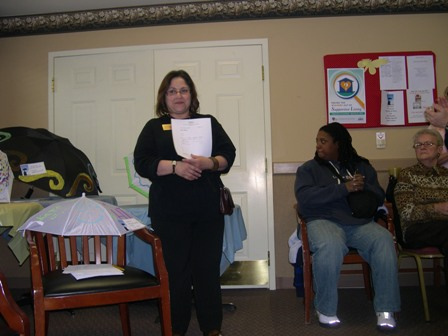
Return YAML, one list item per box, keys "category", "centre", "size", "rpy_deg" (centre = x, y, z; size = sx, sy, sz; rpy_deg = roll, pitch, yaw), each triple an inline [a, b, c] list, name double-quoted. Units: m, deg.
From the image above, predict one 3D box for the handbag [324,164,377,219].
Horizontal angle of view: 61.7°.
- category: "handbag"
  centre: [1.107, 0.242, 3.136]
  size: [0.156, 0.299, 0.095]
  rpy_deg: [-27, -7, -39]

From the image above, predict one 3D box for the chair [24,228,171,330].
- category: "chair"
  centre: [-0.832, 0.748, 2.525]
  size: [0.694, 0.843, 0.573]
  rpy_deg: [2, -16, -23]

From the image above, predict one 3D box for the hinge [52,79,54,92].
- category: "hinge"
  centre: [-1.945, -0.941, 4.291]
  size: [0.022, 0.145, 0.007]
  rpy_deg: [-1, 1, -4]

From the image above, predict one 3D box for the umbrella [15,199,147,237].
- category: "umbrella"
  centre: [-0.839, 0.299, 2.306]
  size: [0.709, 0.214, 0.225]
  rpy_deg: [-1, 1, -8]

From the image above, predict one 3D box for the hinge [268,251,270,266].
- category: "hinge"
  centre: [0.485, 0.969, 4.030]
  size: [0.021, 0.152, 0.022]
  rpy_deg: [-1, 1, 4]

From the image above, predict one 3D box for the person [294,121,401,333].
- category: "person"
  centre: [0.990, 0.416, 3.156]
  size: [0.759, 1.644, 0.645]
  rpy_deg: [-1, 1, 9]
